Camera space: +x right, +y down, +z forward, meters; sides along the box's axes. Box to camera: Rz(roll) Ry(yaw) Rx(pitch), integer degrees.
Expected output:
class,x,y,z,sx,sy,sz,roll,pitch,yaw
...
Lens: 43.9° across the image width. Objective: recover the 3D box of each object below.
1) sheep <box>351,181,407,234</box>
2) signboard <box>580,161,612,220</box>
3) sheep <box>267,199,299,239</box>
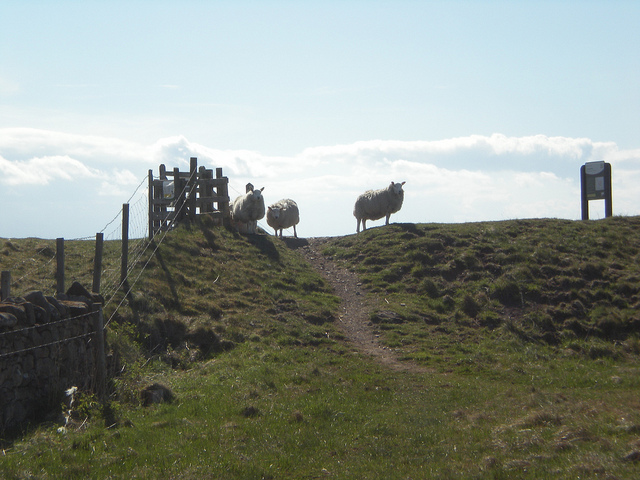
class,x,y,z,sx,sy,sz,roll,pitch,yaw
sheep,3.275,-1.892,43.539,1.423,2.424,4.746,-1,1,-14
signboard,13.848,-2.484,39.635,1.385,2.883,2.600,0,2,19
sheep,-2.176,-1.110,41.890,1.069,2.049,3.220,1,5,4
